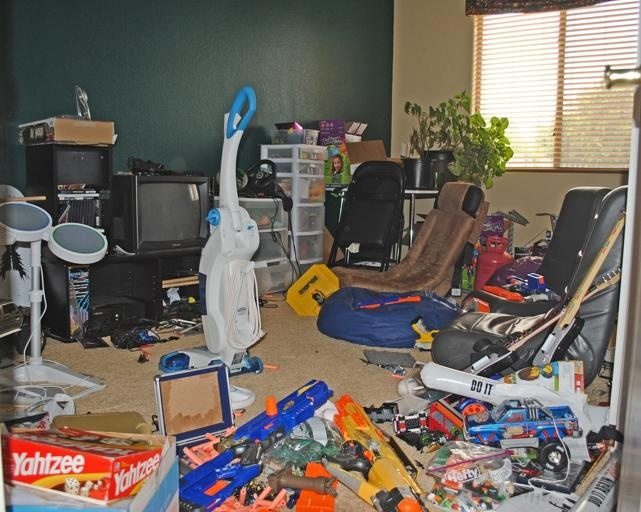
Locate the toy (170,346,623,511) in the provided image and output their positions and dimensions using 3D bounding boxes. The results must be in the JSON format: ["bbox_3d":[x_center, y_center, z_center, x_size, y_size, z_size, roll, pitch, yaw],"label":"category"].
[{"bbox_3d":[0.387,0.676,2.061,1.667,0.421,0.721,2,13,-1],"label":"toy"}]

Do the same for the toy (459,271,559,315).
[{"bbox_3d":[1.114,0.186,2.984,0.394,0.168,0.235,-9,11,-22],"label":"toy"}]

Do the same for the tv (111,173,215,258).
[{"bbox_3d":[-1.188,-0.333,3.966,0.433,0.552,0.668,8,11,40],"label":"tv"}]

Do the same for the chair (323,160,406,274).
[{"bbox_3d":[0.480,-0.316,4.613,0.571,0.940,0.498,7,-10,26],"label":"chair"}]

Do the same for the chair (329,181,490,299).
[{"bbox_3d":[0.670,-0.107,4.098,1.039,0.879,0.604,1,11,-13],"label":"chair"}]

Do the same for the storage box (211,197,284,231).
[{"bbox_3d":[-0.583,-0.329,4.729,0.578,0.334,0.319,0,-14,-7],"label":"storage box"}]

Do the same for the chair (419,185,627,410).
[{"bbox_3d":[0.963,0.133,2.665,0.888,0.945,0.637,-1,11,4],"label":"chair"}]

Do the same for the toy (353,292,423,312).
[{"bbox_3d":[0.453,0.300,3.598,0.458,0.103,0.154,3,13,3],"label":"toy"}]

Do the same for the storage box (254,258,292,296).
[{"bbox_3d":[-0.425,0.188,4.732,0.148,0.375,0.464,10,15,29],"label":"storage box"}]

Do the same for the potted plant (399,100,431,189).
[{"bbox_3d":[1.024,-1.160,5.539,0.379,0.870,0.336,2,11,3],"label":"potted plant"}]

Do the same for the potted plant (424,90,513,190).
[{"bbox_3d":[1.484,-1.149,5.397,0.814,0.966,0.977,5,13,11],"label":"potted plant"}]

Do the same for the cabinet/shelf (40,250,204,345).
[{"bbox_3d":[-1.402,0.232,3.780,0.385,0.573,1.068,14,11,39],"label":"cabinet/shelf"}]
